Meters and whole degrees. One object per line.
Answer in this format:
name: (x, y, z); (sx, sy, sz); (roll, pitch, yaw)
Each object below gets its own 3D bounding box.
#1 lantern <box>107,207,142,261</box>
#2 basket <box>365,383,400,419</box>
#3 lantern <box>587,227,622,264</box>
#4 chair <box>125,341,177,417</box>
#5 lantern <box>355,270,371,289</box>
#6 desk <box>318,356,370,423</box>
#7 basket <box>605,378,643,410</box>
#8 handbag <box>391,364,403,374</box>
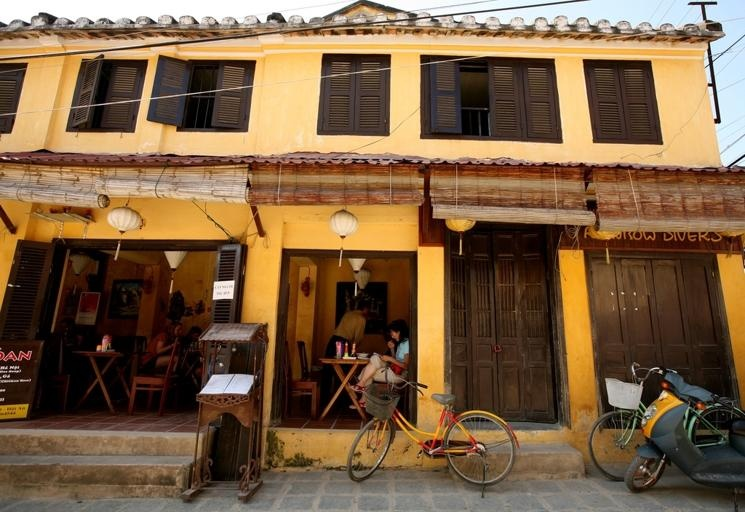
lantern: (-4.605, -0.445, 8.878); (0.656, 0.878, 0.592); (6, -7, -13)
basket: (0.123, 2.509, 8.178); (0.538, 0.358, 0.481); (10, 3, 28)
lantern: (4.422, -0.259, 9.275); (0.574, 0.703, 0.747); (-7, -13, 31)
chair: (-4.628, 2.503, 10.258); (0.848, 1.472, 1.861); (5, -12, -22)
lantern: (-0.276, 0.568, 12.660); (0.497, 0.581, 0.460); (0, -28, 0)
desk: (-0.774, 2.579, 10.039); (1.372, 1.309, 1.505); (0, -10, 6)
basket: (4.336, 2.385, 8.428); (0.644, 0.441, 0.497); (1, -4, 6)
handbag: (0.479, 2.233, 9.581); (0.186, 0.128, 0.096); (24, 20, 11)
